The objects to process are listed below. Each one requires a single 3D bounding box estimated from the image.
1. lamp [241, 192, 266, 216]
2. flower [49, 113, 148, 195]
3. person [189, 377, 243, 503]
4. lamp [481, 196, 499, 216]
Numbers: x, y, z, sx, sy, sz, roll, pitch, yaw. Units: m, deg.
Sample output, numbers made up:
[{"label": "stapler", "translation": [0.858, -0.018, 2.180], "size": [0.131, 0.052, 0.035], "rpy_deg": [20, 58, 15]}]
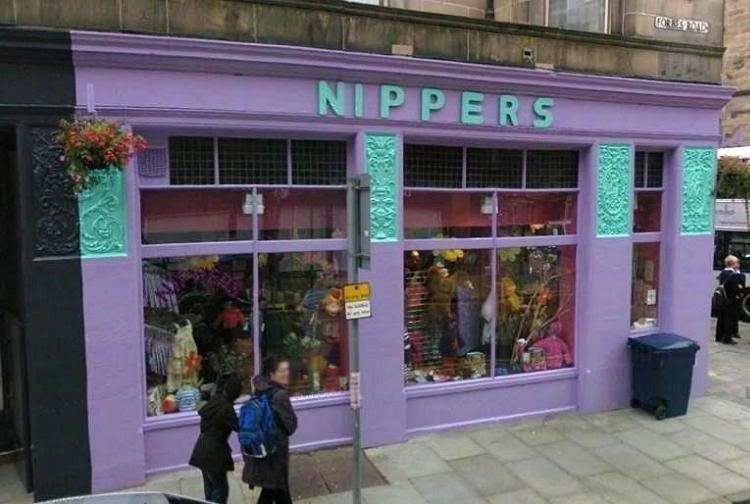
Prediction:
[{"label": "lamp", "translation": [-2.136, -0.806, 14.212], "size": [0.418, 0.422, 0.331], "rpy_deg": [0, 1, -23]}, {"label": "flower", "translation": [-4.374, -1.640, 12.943], "size": [1.404, 1.041, 1.180], "rpy_deg": [-2, 12, -22]}, {"label": "person", "translation": [-2.415, 2.914, 12.349], "size": [0.771, 1.962, 0.409], "rpy_deg": [-3, 4, -12]}, {"label": "lamp", "translation": [2.150, -0.869, 15.397], "size": [0.328, 0.345, 0.176], "rpy_deg": [1, 5, -6]}]
